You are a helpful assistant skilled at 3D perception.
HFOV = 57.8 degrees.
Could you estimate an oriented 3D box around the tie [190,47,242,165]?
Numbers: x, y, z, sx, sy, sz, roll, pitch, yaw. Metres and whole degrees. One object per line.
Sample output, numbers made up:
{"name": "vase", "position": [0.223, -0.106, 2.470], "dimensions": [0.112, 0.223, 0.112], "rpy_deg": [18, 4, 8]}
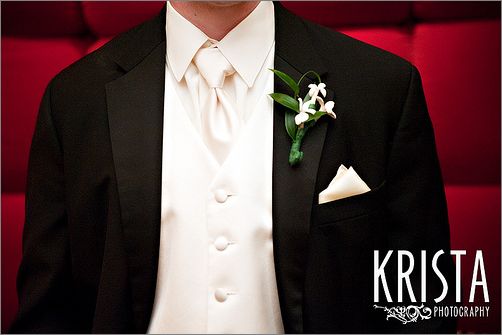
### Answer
{"name": "tie", "position": [-0.089, -0.162, 1.252], "dimensions": [0.109, 0.335, 0.077], "rpy_deg": [-3, -11, 4]}

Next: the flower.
{"name": "flower", "position": [0.121, -0.128, 1.177], "dimensions": [0.174, 0.246, 0.149], "rpy_deg": [2, 7, -14]}
